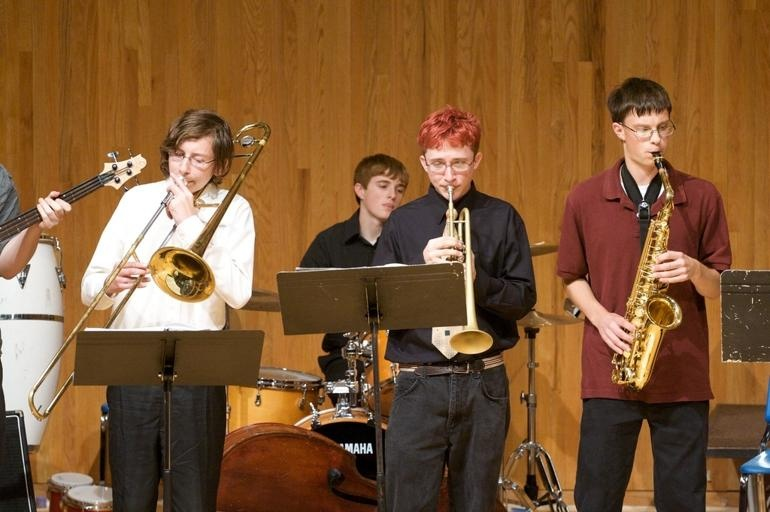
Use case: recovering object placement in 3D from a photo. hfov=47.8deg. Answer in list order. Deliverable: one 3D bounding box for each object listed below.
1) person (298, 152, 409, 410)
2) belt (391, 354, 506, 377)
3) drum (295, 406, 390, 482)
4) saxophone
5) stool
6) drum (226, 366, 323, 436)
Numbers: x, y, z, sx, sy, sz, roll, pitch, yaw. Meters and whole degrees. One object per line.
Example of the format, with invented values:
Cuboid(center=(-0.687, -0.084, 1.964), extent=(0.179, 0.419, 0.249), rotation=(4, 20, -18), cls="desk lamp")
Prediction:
Cuboid(center=(-0.127, 0.391, 6.033), extent=(0.833, 2.177, 0.561), rotation=(-4, 8, -23), cls="person")
Cuboid(center=(0.318, 0.548, 4.346), extent=(0.531, 0.106, 0.201), rotation=(0, -8, 2), cls="belt")
Cuboid(center=(-0.237, 1.073, 5.350), extent=(0.419, 0.518, 0.468), rotation=(2, 3, -8), cls="drum")
Cuboid(center=(1.378, 0.153, 4.418), extent=(0.221, 1.224, 0.393), rotation=(2, 10, -9), cls="saxophone")
Cuboid(center=(2.407, 1.257, 5.956), extent=(0.369, 0.354, 0.889), rotation=(1, 6, 9), cls="stool")
Cuboid(center=(-0.703, 0.840, 5.572), extent=(0.453, 0.472, 0.489), rotation=(4, -2, 11), cls="drum")
